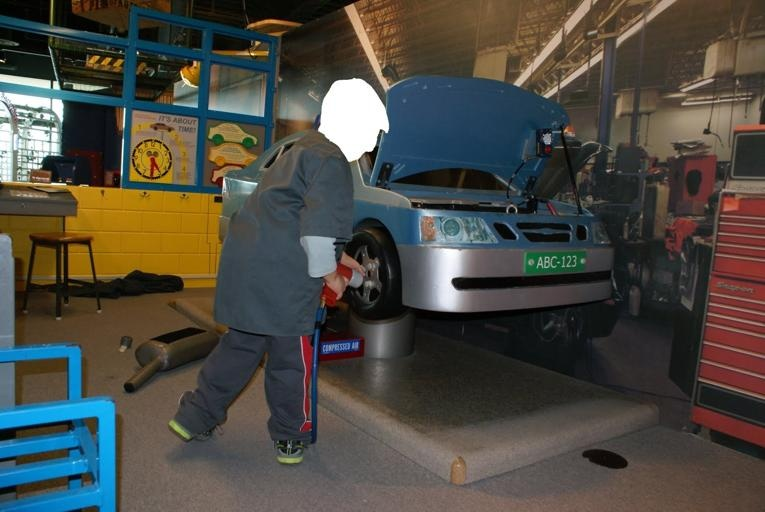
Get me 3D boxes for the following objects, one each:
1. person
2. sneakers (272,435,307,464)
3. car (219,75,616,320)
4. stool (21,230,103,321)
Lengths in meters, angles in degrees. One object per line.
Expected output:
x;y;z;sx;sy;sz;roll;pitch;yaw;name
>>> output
-0.615;0.112;3.496;1.190;2.321;0.435;2;10;10;person
-0.579;1.212;3.532;0.113;0.090;0.216;3;6;-2;sneakers
0.244;-0.556;5.026;1.767;1.158;2.798;-4;7;-38;car
-3.369;0.173;5.976;0.618;0.742;0.586;4;5;14;stool
